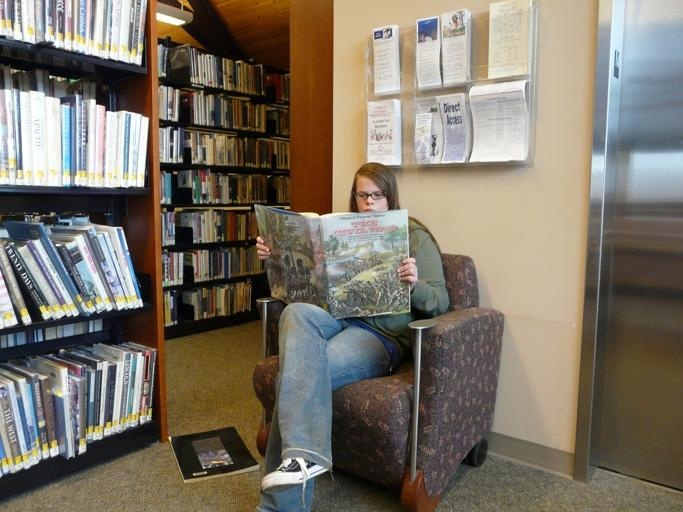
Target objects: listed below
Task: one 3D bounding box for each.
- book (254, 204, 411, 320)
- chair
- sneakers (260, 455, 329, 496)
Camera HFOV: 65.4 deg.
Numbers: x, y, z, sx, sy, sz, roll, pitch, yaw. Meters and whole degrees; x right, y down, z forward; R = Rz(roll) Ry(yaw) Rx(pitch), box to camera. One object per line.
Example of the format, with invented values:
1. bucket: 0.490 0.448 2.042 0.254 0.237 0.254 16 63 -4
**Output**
1. book: -0.017 0.032 2.077 0.468 0.375 0.056 3 23 12
2. chair: 0.187 0.492 2.294 0.765 0.930 0.854 -3 -11 34
3. sneakers: -0.155 0.719 1.776 0.210 0.133 0.090 -2 -15 -33
